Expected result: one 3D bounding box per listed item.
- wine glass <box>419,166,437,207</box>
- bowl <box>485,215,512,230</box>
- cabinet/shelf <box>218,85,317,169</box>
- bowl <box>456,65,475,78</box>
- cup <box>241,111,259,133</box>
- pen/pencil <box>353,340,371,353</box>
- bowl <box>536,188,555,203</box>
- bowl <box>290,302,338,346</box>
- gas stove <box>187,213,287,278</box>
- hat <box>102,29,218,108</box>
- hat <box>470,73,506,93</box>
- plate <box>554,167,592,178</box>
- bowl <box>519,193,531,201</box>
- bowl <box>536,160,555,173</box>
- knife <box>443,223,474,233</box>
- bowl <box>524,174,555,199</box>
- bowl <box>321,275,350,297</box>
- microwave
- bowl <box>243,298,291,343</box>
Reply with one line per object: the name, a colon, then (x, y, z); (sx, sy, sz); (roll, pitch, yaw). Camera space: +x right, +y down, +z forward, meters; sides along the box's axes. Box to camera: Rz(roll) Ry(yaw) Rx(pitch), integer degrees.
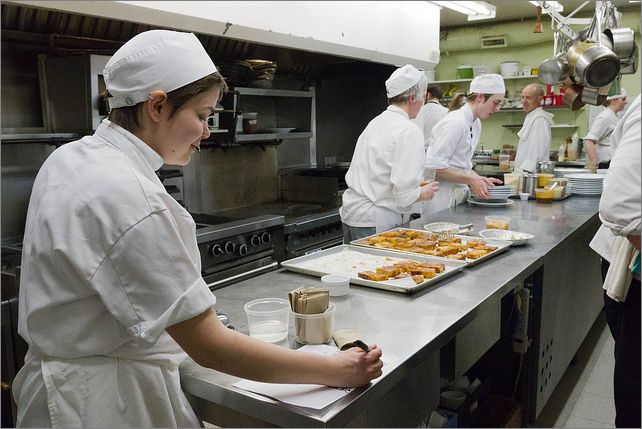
wine glass: (0.737, -0.218, 3.125); (0.116, 0.234, 0.518); (1, 8, 14)
bowl: (1.102, 0.052, 2.841); (0.117, 0.085, 0.119); (1, 0, 0)
cabinet/shelf: (-0.528, -0.836, 4.259); (0.342, 0.871, 1.060); (1, 4, 36)
bowl: (2.602, -2.607, 8.283); (0.325, 0.214, 0.241); (1, 2, 33)
cup: (-0.633, -0.811, 3.995); (0.169, 0.169, 0.164); (-1, 5, 0)
pen/pencil: (0.129, 0.424, 1.424); (0.020, 0.077, 0.019); (-35, 36, 27)
bowl: (1.779, -0.149, 3.625); (0.122, 0.081, 0.119); (0, 1, 0)
bowl: (-0.021, 0.380, 1.584); (0.130, 0.080, 0.133); (0, -2, 0)
gas stove: (-0.597, 0.213, 3.323); (0.547, 0.322, 0.481); (1, 6, 39)
hat: (-0.485, -0.436, 1.411); (0.300, 0.177, 0.217); (-18, 7, -15)
hat: (1.358, -1.068, 3.693); (0.208, 0.116, 0.205); (1, 15, 7)
plate: (2.453, -0.411, 4.466); (0.274, 0.052, 0.252); (-2, 5, -3)
bowl: (1.676, -0.143, 3.749); (0.068, 0.040, 0.064); (1, -5, 0)
bowl: (2.123, -0.446, 4.318); (0.134, 0.139, 0.134); (1, 1, 0)
knife: (0.841, 0.086, 2.750); (0.115, 0.016, 0.098); (-12, 18, -25)
bowl: (1.872, -0.246, 3.860); (0.283, 0.263, 0.174); (1, 4, 27)
bowl: (0.059, 0.307, 1.941); (0.095, 0.041, 0.093); (-1, 6, 0)
microwave: (-1.350, -0.736, 3.269); (0.648, 0.912, 0.980); (4, 7, 28)
bowl: (-0.188, 0.371, 1.625); (0.151, 0.089, 0.149); (-1, 3, 0)
